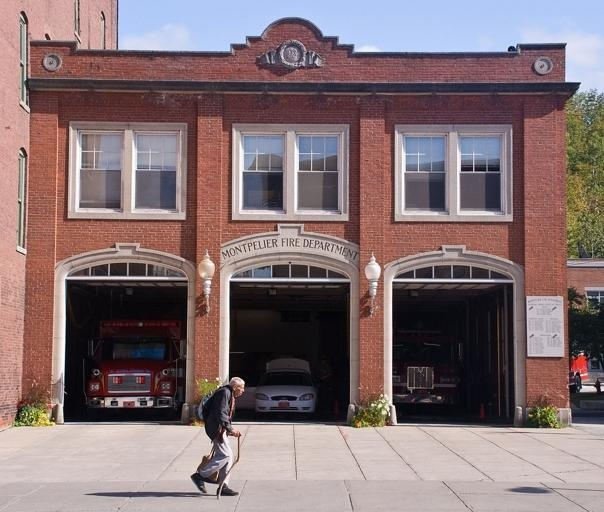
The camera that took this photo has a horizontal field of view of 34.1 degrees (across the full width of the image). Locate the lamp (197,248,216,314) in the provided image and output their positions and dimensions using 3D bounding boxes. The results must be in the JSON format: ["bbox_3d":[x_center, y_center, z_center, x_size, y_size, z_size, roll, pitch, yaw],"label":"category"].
[{"bbox_3d":[-2.708,0.770,27.998,0.484,1.864,0.538,1,3,-6],"label":"lamp"}]

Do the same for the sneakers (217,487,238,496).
[{"bbox_3d":[-1.459,4.580,19.079,0.450,0.180,0.160,-3,-7,18],"label":"sneakers"}]

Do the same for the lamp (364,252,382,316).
[{"bbox_3d":[1.949,0.879,28.047,0.438,1.696,0.570,1,3,4],"label":"lamp"}]

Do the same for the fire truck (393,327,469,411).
[{"bbox_3d":[4.262,4.000,33.673,2.409,2.633,2.361,1,2,6],"label":"fire truck"}]

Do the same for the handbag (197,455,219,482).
[{"bbox_3d":[-1.824,4.182,19.227,0.207,0.377,0.369,26,-20,44],"label":"handbag"}]

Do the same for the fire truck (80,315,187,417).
[{"bbox_3d":[-5.121,3.575,32.666,2.989,2.957,5.689,0,-2,3],"label":"fire truck"}]
